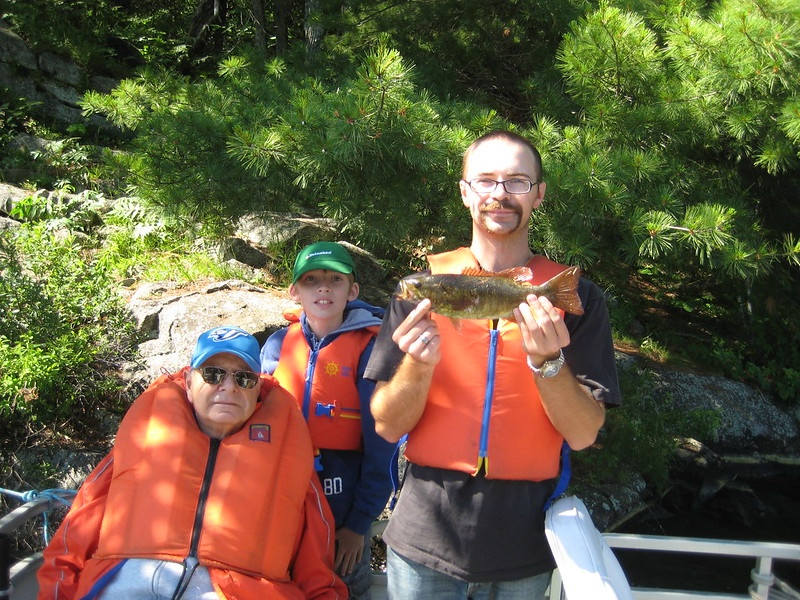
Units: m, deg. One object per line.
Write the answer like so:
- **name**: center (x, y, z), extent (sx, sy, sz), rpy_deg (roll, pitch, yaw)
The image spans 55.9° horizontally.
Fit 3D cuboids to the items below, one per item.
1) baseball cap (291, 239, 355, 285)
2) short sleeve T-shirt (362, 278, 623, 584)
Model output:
- **baseball cap**: center (-0.630, -0.311, 6.141), extent (0.505, 0.380, 0.717), rpy_deg (-7, -9, -14)
- **short sleeve T-shirt**: center (0.544, 0.851, 4.905), extent (1.634, 2.255, 0.802), rpy_deg (8, -12, 6)
